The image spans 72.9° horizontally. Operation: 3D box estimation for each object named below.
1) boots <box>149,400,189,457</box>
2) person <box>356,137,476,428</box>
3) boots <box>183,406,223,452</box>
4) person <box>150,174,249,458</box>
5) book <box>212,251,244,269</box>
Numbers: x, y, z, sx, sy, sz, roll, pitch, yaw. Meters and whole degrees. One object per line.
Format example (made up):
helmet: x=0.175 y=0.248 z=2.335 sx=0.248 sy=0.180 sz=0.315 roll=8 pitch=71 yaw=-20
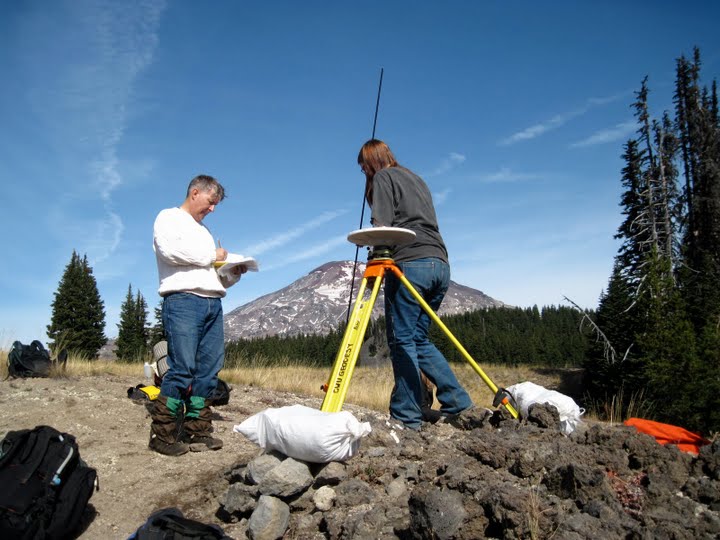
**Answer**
boots: x=-2.034 y=1.636 z=5.317 sx=0.399 sy=0.660 sz=0.471 roll=14 pitch=-9 yaw=-42
person: x=0.567 y=0.079 z=5.285 sx=1.192 sy=3.162 sz=1.178 roll=-1 pitch=-10 yaw=13
boots: x=-1.754 y=1.691 z=5.491 sx=0.481 sy=0.601 sz=0.265 roll=5 pitch=2 yaw=11
person: x=-1.890 y=0.444 z=5.442 sx=0.891 sy=3.070 sz=0.458 roll=6 pitch=-10 yaw=-26
book: x=-1.501 y=-0.114 z=5.472 sx=0.263 sy=0.070 sz=0.263 roll=-7 pitch=-8 yaw=44
